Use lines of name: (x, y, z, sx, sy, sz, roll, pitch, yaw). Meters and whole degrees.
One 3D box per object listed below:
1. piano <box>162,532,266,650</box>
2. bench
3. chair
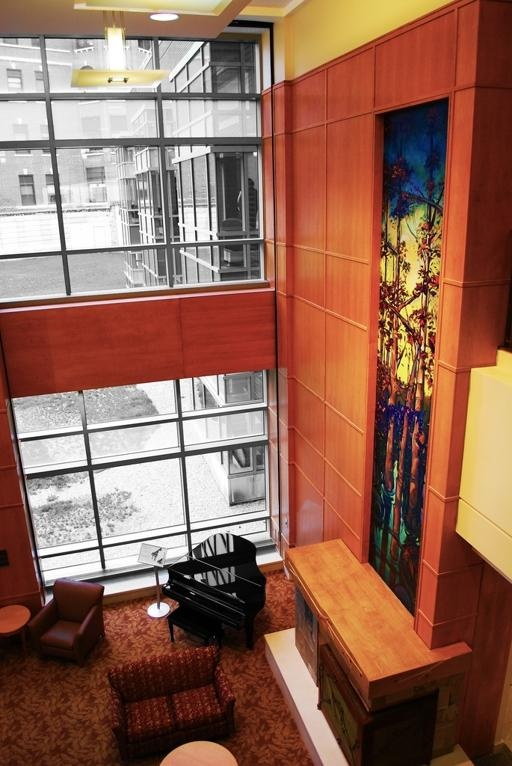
piano: (-0.597, 3.182, 8.150, 1.082, 0.814, 1.474, 17, 34, 26)
bench: (-1.116, 3.423, 6.365, 1.523, 1.126, 0.911, -8, 16, -16)
chair: (-2.865, 3.627, 7.894, 0.885, 0.833, 0.847, 1, 11, 13)
